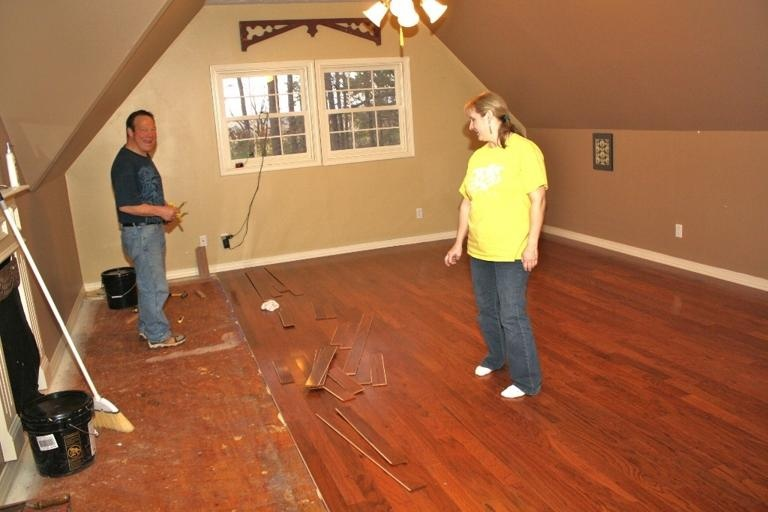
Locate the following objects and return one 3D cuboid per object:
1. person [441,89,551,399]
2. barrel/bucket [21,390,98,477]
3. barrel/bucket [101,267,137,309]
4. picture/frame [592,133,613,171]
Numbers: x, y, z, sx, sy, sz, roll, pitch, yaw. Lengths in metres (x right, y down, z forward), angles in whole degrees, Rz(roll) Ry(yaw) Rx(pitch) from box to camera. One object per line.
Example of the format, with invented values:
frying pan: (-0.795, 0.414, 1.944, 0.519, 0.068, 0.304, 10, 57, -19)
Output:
person: (0.828, -0.054, 3.684, 0.690, 2.118, 0.415, 12, 24, 38)
barrel/bucket: (-2.101, 1.157, 3.414, 0.439, 0.421, 0.438, -1, 12, 0)
barrel/bucket: (-2.918, 0.346, 5.904, 0.470, 0.415, 0.477, 1, 4, 0)
picture/frame: (2.844, -1.364, 6.719, 0.053, 0.543, 0.464, -5, 9, -21)
